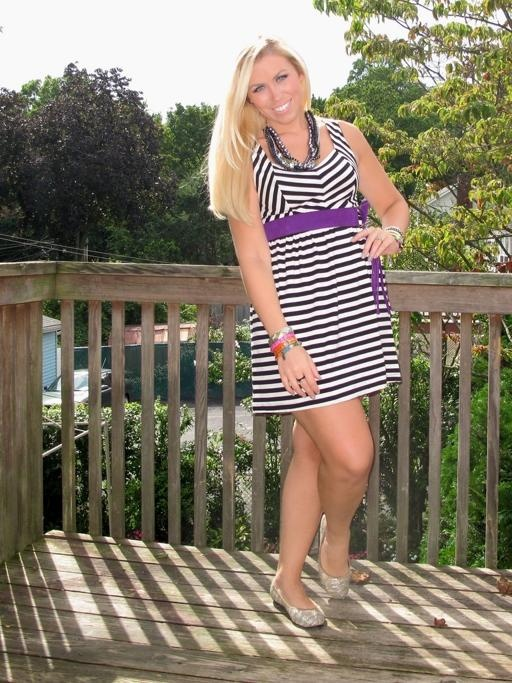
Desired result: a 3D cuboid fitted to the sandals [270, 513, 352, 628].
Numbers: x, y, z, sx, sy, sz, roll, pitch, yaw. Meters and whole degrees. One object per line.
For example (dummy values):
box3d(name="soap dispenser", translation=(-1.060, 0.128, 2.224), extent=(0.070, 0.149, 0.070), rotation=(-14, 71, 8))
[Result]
box3d(name="sandals", translation=(0.148, 0.636, 2.147), extent=(0.113, 0.170, 0.394), rotation=(2, -4, -4))

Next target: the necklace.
box3d(name="necklace", translation=(0.092, -0.493, 1.944), extent=(0.136, 0.166, 0.117), rotation=(-1, 4, -15))

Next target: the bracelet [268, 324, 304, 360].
box3d(name="bracelet", translation=(0.065, 0.001, 1.896), extent=(0.063, 0.068, 0.069), rotation=(-31, -7, -36))

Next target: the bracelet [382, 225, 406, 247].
box3d(name="bracelet", translation=(0.363, -0.276, 2.059), extent=(0.042, 0.035, 0.057), rotation=(1, -16, 21))

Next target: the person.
box3d(name="person", translation=(0.151, -0.003, 2.020), extent=(0.552, 1.425, 0.406), rotation=(-1, 4, -13))
